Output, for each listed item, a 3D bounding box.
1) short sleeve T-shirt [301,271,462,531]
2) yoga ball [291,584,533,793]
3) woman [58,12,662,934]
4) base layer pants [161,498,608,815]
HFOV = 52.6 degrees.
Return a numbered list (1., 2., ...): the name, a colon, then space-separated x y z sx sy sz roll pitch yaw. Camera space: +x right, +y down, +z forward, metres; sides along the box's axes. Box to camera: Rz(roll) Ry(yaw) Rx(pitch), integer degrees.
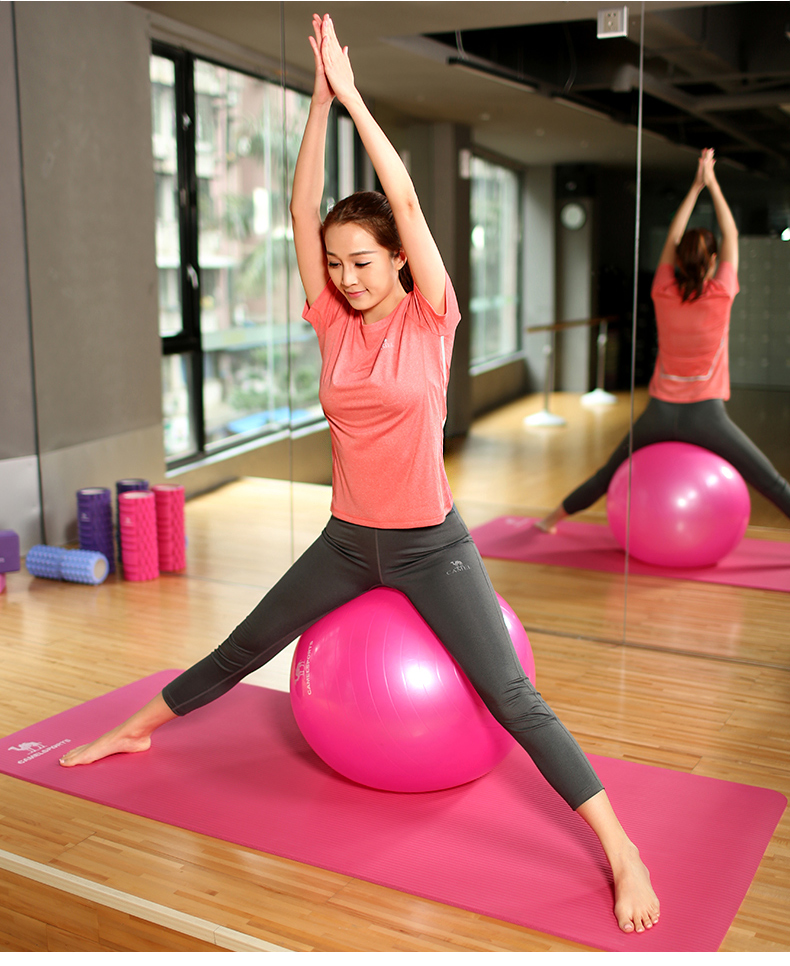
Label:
1. short sleeve T-shirt: -0.051 -0.149 1.523 0.378 0.480 0.181 5 7 43
2. yoga ball: 0.000 0.419 1.613 0.437 0.286 0.442 3 12 -1
3. woman: -0.079 -0.067 1.530 1.207 1.452 0.321 4 7 37
4. base layer pants: -0.022 0.340 1.633 1.311 0.559 0.324 2 -5 33
